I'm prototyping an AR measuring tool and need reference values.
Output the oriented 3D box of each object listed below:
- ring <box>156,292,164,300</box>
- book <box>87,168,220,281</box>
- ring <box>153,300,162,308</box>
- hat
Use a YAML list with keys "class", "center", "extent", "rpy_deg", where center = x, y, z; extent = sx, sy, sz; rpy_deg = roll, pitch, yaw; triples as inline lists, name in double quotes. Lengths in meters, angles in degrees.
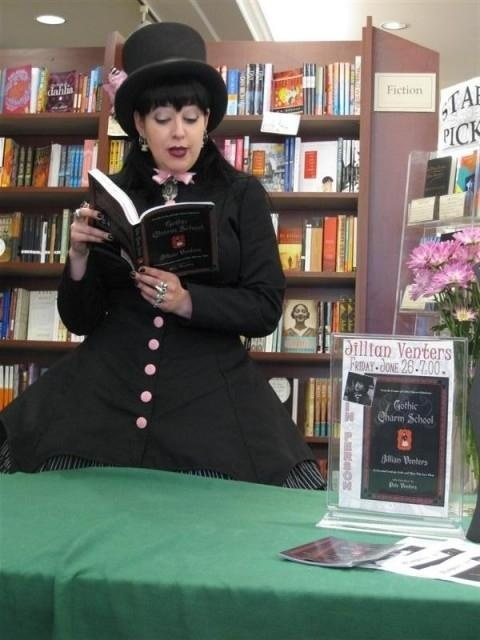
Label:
- class: "ring"
  center: [-0.162, -0.049, 1.024]
  extent: [0.011, 0.014, 0.005]
  rpy_deg: [-1, 6, -1]
- class: "book"
  center: [-0.164, -0.176, 1.064]
  extent: [0.208, 0.102, 0.257]
  rpy_deg: [-1, -26, 2]
- class: "ring"
  center: [-0.169, -0.033, 1.039]
  extent: [0.015, 0.015, 0.014]
  rpy_deg: [-1, 19, 0]
- class: "hat"
  center: [-0.185, -0.638, 1.310]
  extent: [0.254, 0.143, 0.280]
  rpy_deg: [-5, -20, -4]
